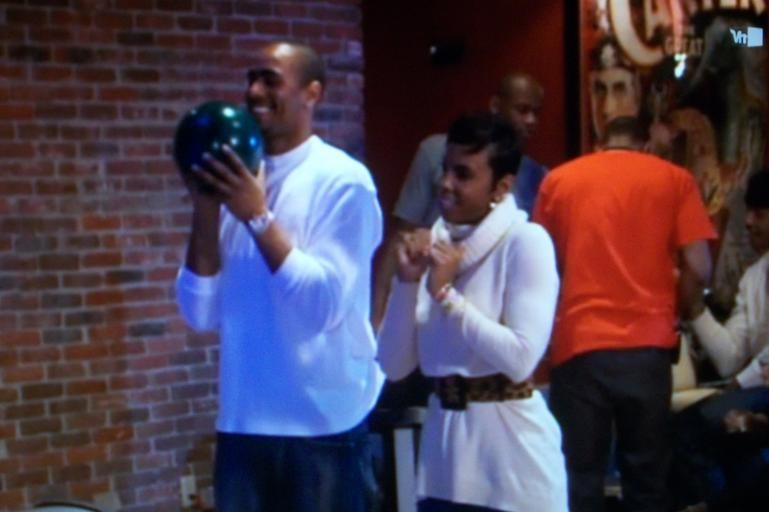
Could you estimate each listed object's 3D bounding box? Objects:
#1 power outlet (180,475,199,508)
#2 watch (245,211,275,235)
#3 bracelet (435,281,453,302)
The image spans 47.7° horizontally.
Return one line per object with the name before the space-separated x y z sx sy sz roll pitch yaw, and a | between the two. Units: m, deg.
power outlet | -1.009 1.205 4.470 0.092 0.167 0.037 0 4 -5
watch | -0.408 -0.110 2.884 0.088 0.035 0.062 -42 4 -30
bracelet | 0.198 0.118 2.975 0.060 0.021 0.044 -50 -3 3
